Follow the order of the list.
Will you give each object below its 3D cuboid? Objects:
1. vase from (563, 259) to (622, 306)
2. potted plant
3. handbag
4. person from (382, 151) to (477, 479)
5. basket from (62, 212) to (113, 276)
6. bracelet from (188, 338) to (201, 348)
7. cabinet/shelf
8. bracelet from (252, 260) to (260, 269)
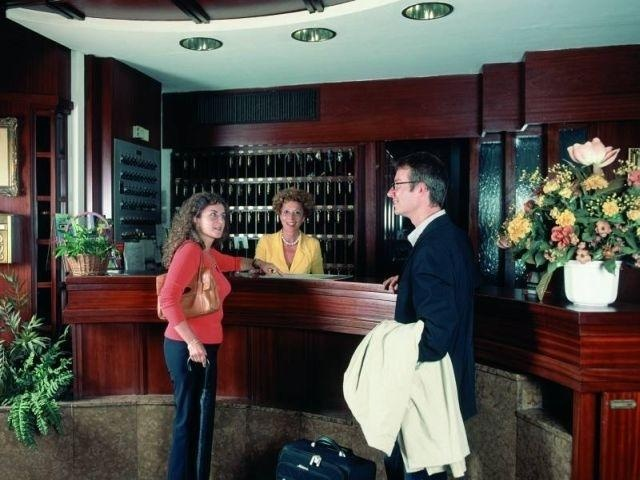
[{"bbox_3d":[1.381,0.216,2.745,0.237,0.197,0.234,0,-5,10],"label":"vase"},{"bbox_3d":[-1.685,-0.022,4.005,0.329,0.473,0.356,-15,11,10],"label":"potted plant"},{"bbox_3d":[-0.802,0.296,3.146,0.138,0.315,0.345,13,12,39],"label":"handbag"},{"bbox_3d":[0.532,0.406,2.697,0.463,1.707,0.424,0,2,16],"label":"person"},{"bbox_3d":[-1.708,0.004,3.963,0.321,0.439,0.335,1,10,-11],"label":"basket"},{"bbox_3d":[-0.702,0.571,3.026,0.052,0.034,0.041,-3,-4,-17],"label":"bracelet"},{"bbox_3d":[-2.585,-0.268,5.219,0.278,2.190,0.362,-1,2,-1],"label":"cabinet/shelf"},{"bbox_3d":[-0.477,0.175,4.028,0.017,0.058,0.056,-12,-11,8],"label":"bracelet"}]
